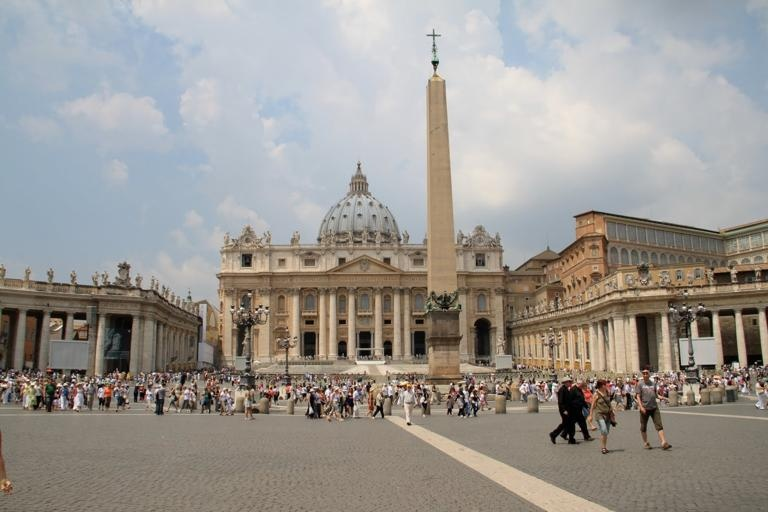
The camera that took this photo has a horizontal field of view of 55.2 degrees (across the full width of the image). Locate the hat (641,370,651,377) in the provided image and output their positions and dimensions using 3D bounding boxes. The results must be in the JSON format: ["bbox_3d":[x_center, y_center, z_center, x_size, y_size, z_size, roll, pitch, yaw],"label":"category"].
[{"bbox_3d":[8.028,3.577,22.570,0.187,0.212,0.265,-19,-39,17],"label":"hat"}]

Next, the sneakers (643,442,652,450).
[{"bbox_3d":[8.270,5.973,23.086,0.223,0.184,0.433,-5,-14,21],"label":"sneakers"}]

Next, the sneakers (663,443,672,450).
[{"bbox_3d":[8.729,5.902,22.778,0.166,0.169,0.377,-1,-27,-7],"label":"sneakers"}]
